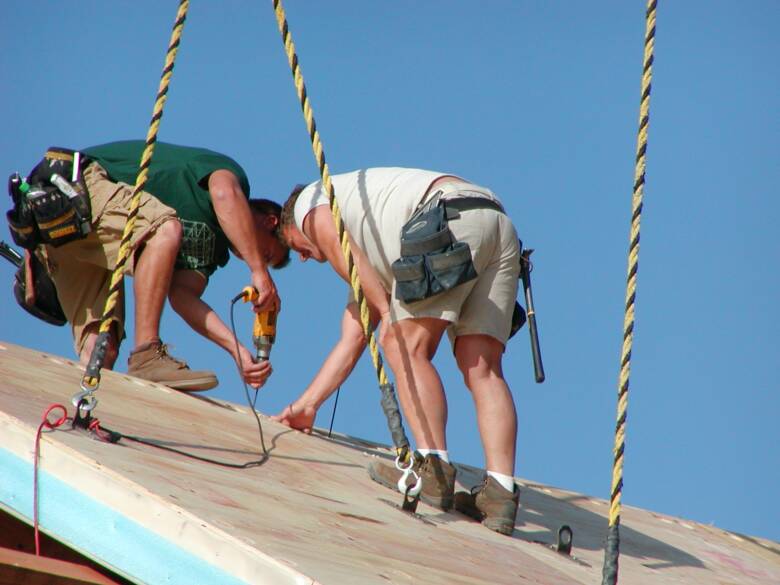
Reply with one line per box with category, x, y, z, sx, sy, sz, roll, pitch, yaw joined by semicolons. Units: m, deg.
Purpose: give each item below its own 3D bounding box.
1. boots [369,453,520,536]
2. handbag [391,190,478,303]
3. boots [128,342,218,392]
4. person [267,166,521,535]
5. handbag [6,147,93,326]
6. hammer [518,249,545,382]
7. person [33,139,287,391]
boots;0.233;0.837;7.322;0.662;0.316;0.433;13;-1;8
handbag;0.173;-0.192;7.418;0.346;0.517;0.275;-13;-13;20
boots;-1.012;0.359;7.963;0.416;0.224;0.283;13;-1;-11
person;-0.070;0.194;7.702;1.130;1.634;0.632;-4;-8;34
handbag;-1.595;-0.278;8.134;0.263;0.827;0.553;-6;9;-41
hammer;0.657;0.087;7.815;0.143;0.508;0.100;7;-26;-33
person;-1.186;-0.034;8.527;1.212;1.651;1.063;5;-30;1
